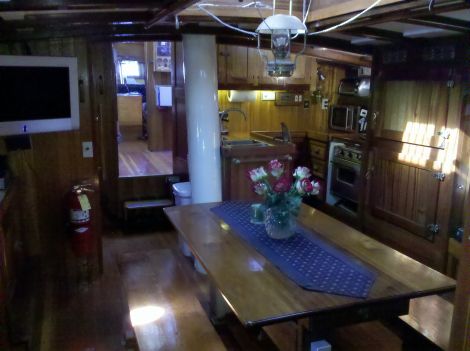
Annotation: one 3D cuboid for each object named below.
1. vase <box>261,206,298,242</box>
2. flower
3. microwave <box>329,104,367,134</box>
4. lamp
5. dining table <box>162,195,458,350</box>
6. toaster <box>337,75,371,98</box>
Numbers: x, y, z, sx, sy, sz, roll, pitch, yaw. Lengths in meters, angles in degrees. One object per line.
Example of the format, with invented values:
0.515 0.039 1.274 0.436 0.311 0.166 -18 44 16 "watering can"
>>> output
0.288 0.323 2.380 0.202 0.222 0.201 -1 12 4 "vase"
0.309 0.045 2.549 0.533 0.589 0.477 7 16 19 "flower"
1.630 -0.829 5.263 0.397 0.413 0.600 6 0 -30 "microwave"
0.471 -1.352 3.562 0.958 0.547 1.019 1 12 13 "lamp"
0.348 0.609 2.463 1.220 0.456 1.661 -11 17 -23 "dining table"
1.707 -1.290 5.193 0.349 0.263 0.472 8 6 -31 "toaster"
